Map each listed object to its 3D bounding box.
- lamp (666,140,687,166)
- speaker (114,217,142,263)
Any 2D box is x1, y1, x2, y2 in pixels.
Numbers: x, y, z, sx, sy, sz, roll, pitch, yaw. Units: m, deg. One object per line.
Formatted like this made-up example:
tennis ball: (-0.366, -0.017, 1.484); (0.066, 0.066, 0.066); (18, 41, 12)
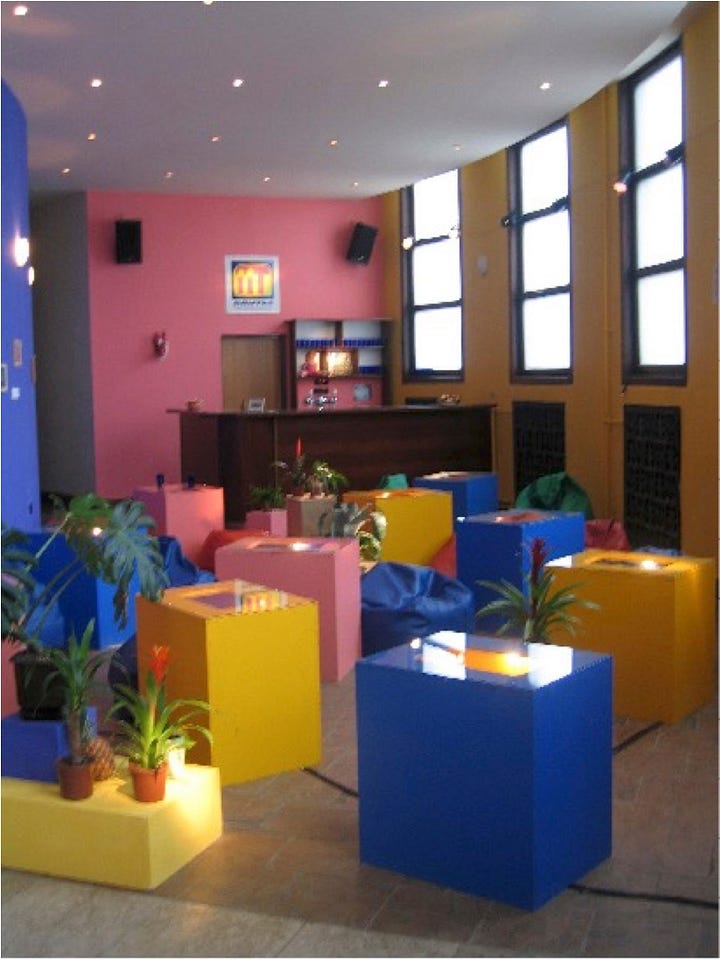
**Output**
lamp: (2.421, -2.482, 5.923); (0.130, 0.232, 0.112); (1, 3, 18)
speaker: (-2.971, -3.084, 9.844); (0.364, 0.578, 0.357); (-1, 1, -19)
